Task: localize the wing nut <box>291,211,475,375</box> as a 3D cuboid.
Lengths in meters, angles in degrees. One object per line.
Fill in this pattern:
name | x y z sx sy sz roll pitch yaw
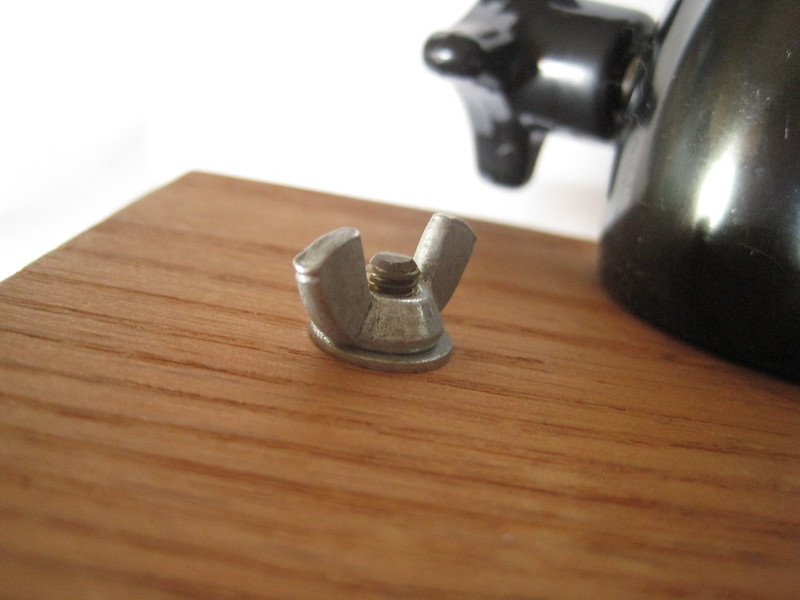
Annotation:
wing nut | -0.024 -0.006 0.616 0.153 0.092 0.107 -12 23 -41
